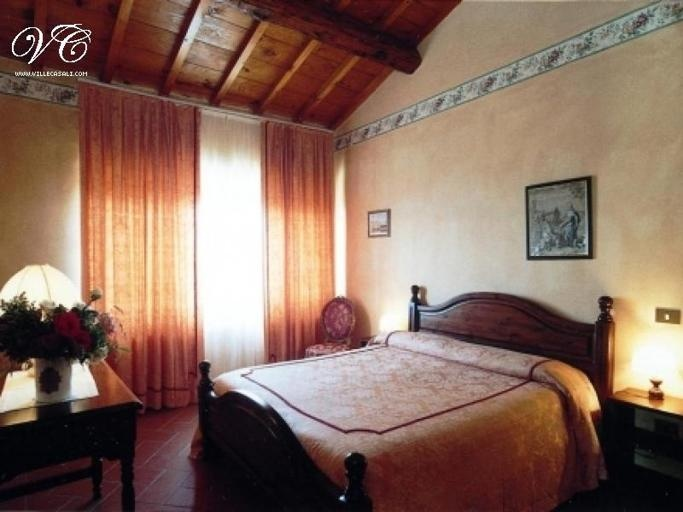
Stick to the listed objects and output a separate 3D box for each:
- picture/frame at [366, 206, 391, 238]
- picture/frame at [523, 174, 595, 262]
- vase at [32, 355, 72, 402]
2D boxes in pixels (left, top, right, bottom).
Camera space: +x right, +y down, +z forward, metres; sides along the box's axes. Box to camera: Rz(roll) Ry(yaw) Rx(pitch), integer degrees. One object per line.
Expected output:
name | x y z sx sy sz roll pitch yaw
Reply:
picture/frame | 0.417 -0.399 5.763 0.033 0.330 0.389 1 -2 -40
picture/frame | 1.817 -0.319 4.180 0.047 0.960 0.748 -2 2 -45
vase | -1.715 0.736 3.097 0.244 0.270 0.244 -1 -1 13
